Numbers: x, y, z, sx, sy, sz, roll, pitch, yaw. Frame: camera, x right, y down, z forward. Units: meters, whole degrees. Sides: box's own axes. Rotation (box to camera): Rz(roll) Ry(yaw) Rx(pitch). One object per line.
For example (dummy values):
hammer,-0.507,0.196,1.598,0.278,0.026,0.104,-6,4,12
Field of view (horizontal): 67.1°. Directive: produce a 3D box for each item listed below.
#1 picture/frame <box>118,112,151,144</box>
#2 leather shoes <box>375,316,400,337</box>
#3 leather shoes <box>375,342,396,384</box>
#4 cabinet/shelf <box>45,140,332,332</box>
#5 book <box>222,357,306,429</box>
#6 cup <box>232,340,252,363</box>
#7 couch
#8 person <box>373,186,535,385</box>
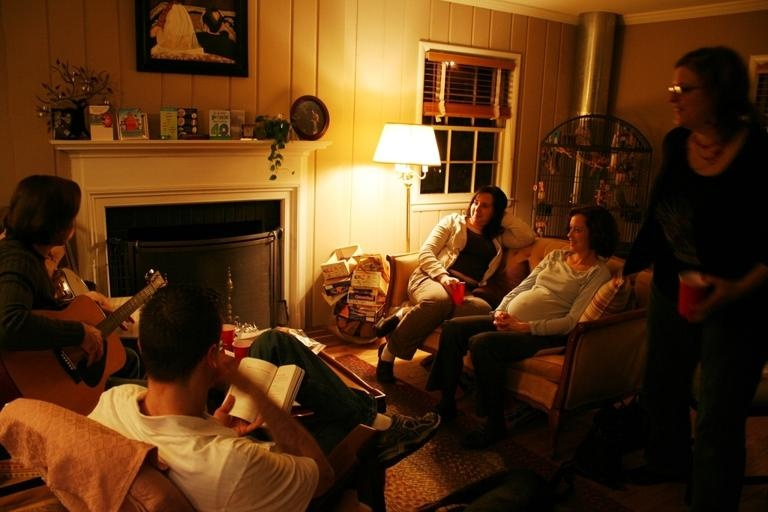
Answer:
picture/frame,-1.668,-0.844,3.851,0.214,0.215,0.077,-7,16,-33
leather shoes,0.014,0.496,4.014,0.078,0.099,0.244,-6,21,42
leather shoes,0.004,0.744,3.999,0.095,0.292,0.119,1,-18,-2
cabinet/shelf,-1.325,-0.176,3.802,1.377,1.222,0.373,-6,10,-34
book,-0.518,0.594,2.486,0.276,0.268,0.099,10,-11,35
cup,-0.759,0.503,3.107,0.116,0.095,0.122,3,0,0
couch,0.685,0.630,4.013,0.957,1.183,1.960,2,4,-34
person,0.560,0.211,4.190,0.682,1.580,0.798,23,-4,-7
